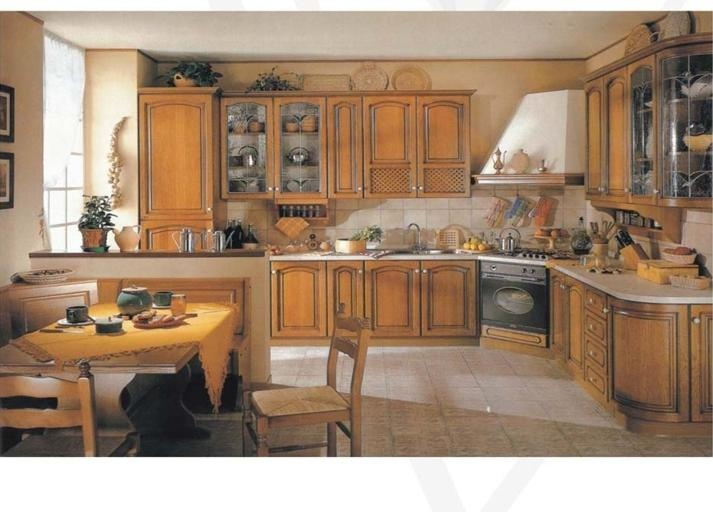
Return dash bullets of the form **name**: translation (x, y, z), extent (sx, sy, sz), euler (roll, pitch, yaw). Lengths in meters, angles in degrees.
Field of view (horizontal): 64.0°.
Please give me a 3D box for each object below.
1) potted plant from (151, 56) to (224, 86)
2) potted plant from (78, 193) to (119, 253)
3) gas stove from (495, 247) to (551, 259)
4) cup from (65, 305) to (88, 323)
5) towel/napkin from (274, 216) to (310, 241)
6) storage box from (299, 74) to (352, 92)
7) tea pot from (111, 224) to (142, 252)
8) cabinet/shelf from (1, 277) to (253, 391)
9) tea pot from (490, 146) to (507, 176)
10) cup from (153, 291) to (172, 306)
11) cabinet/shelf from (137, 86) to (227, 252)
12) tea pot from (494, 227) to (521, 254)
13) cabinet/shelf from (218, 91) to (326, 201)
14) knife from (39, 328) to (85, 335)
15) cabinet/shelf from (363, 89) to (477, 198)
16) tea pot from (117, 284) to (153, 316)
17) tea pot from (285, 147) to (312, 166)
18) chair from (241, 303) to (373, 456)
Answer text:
- **potted plant**: translation (-1.811, -1.997, 6.260), extent (0.631, 0.337, 0.550), euler (-2, 11, -10)
- **potted plant**: translation (-2.186, -0.266, 4.770), extent (0.275, 0.458, 0.411), euler (-6, 13, -22)
- **gas stove**: translation (1.728, -0.019, 5.841), extent (0.557, 0.050, 0.620), euler (-1, 10, -2)
- **cup**: translation (-1.906, 0.388, 3.876), extent (0.138, 0.077, 0.135), euler (3, 8, 0)
- **towel/napkin**: translation (-0.743, -0.322, 6.424), extent (0.296, 0.293, 0.087), euler (41, 7, -2)
- **storage box**: translation (-0.326, -1.967, 6.471), extent (0.553, 0.173, 0.058), euler (0, 13, 5)
- **tea pot**: translation (-1.957, -0.146, 4.873), extent (0.304, 0.205, 0.248), euler (1, 0, -38)
- **cabinet/shelf**: translation (-1.528, 0.526, 3.667), extent (1.235, 0.503, 1.440), euler (0, 5, -2)
- **tea pot**: translation (1.535, -1.012, 6.102), extent (0.142, 0.284, 0.332), euler (2, 11, 13)
- **cup**: translation (-1.427, 0.321, 4.266), extent (0.185, 0.086, 0.114), euler (0, 2, 0)
- **cabinet/shelf**: translation (-1.900, -0.917, 6.046), extent (0.897, 1.668, 0.372), euler (-2, 13, -6)
- **tea pot**: translation (1.698, -0.182, 6.322), extent (0.443, 0.330, 0.264), euler (1, 1, 9)
- **cabinet/shelf**: translation (-0.943, -1.234, 6.201), extent (1.707, 1.144, 0.559), euler (0, 0, -1)
- **knife**: translation (-1.896, 0.482, 3.682), extent (0.371, 0.012, 0.083), euler (0, 16, -3)
- **cabinet/shelf**: translation (0.664, -1.224, 6.184), extent (1.686, 1.091, 0.491), euler (0, 0, 2)
- **tea pot**: translation (-1.573, 0.319, 4.040), extent (0.255, 0.168, 0.221), euler (-1, 0, -17)
- **tea pot**: translation (-0.631, -1.087, 6.316), extent (0.252, 0.143, 0.245), euler (-1, -2, 0)
- **chair**: translation (-0.328, 0.888, 3.589), extent (0.838, 0.889, 0.609), euler (-10, 5, -11)
